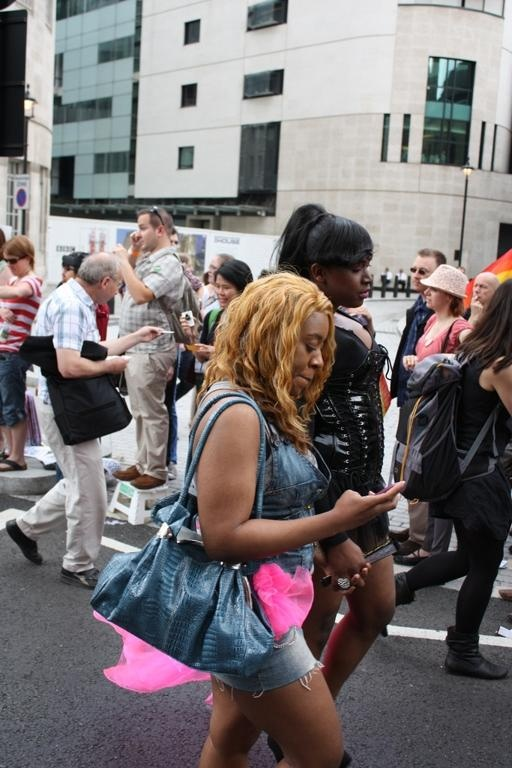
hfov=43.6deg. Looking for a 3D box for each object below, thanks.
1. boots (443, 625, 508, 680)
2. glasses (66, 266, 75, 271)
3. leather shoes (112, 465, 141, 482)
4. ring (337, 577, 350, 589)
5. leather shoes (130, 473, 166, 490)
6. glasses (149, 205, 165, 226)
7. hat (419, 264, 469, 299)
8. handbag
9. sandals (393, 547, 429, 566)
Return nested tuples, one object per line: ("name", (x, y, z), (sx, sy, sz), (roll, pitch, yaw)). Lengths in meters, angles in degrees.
("boots", (1.023, 1.308, 3.156), (0.412, 0.276, 0.142), (-1, 5, 8))
("glasses", (-1.824, -1.124, 6.213), (0.051, 0.059, 0.031), (-3, -6, 3))
("leather shoes", (-1.178, 0.818, 5.868), (0.112, 0.118, 0.306), (0, -7, 34))
("ring", (0.253, 0.561, 1.811), (0.041, 0.038, 0.010), (-7, 14, -7))
("leather shoes", (-0.924, 0.821, 5.392), (0.239, 0.089, 0.116), (8, 1, -40))
("glasses", (-0.877, -1.510, 5.709), (0.060, 0.185, 0.180), (-14, 9, -25))
("hat", (1.399, -0.761, 4.745), (0.303, 0.158, 0.238), (28, 12, 16))
("handbag", (-0.160, 0.312, 1.460), (0.517, 0.615, 0.198), (5, 4, 35))
("sandals", (1.109, 1.246, 4.621), (0.342, 0.086, 0.127), (-5, 6, 2))
